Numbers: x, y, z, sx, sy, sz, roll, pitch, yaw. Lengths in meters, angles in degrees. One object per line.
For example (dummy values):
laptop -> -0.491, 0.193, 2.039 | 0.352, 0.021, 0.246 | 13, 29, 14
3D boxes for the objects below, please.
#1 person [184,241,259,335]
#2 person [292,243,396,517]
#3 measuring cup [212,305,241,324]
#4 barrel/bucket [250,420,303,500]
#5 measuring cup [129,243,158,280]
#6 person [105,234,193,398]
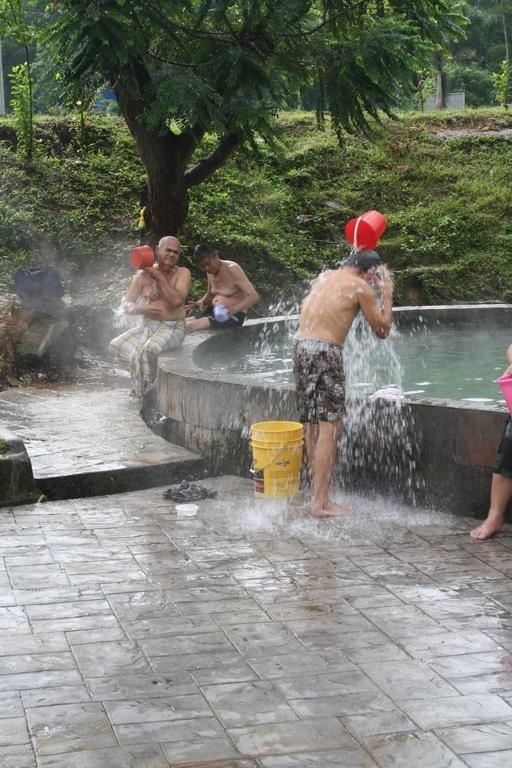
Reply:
person -> -0.515, -1.007, 8.607 | 1.060, 1.008, 0.736 | -5, 13, -34
person -> 0.519, -0.021, 4.764 | 0.574, 1.529, 0.594 | 0, 12, -9
measuring cup -> -0.331, -0.742, 8.366 | 0.252, 0.186, 0.155 | 0, 11, -7
barrel/bucket -> 0.117, 0.464, 4.907 | 0.442, 0.438, 0.446 | 0, 4, 0
measuring cup -> -1.007, -1.131, 7.224 | 0.279, 0.258, 0.213 | -28, -7, 40
person -> -0.900, -0.526, 7.180 | 0.695, 1.212, 0.773 | -3, 12, -22
